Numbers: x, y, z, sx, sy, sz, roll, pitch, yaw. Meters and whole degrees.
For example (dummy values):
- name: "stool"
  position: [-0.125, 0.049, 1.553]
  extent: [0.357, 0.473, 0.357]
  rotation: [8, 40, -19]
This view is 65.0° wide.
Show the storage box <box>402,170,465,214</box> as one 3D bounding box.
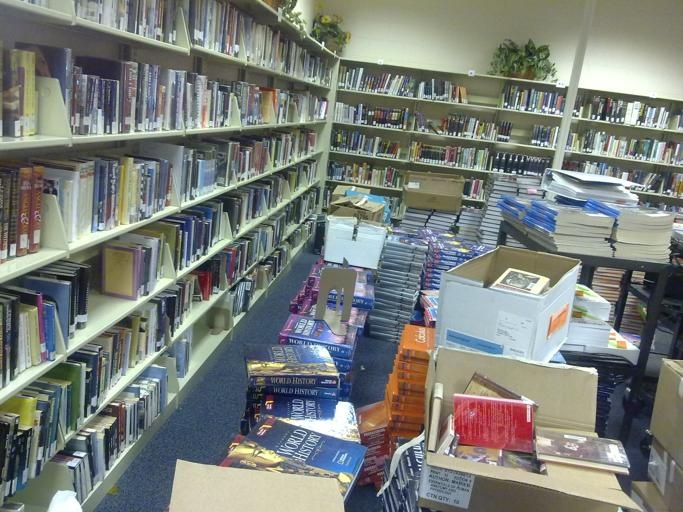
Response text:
- name: "storage box"
  position: [1.016, -0.708, 5.915]
  extent: [0.505, 0.308, 0.509]
  rotation: [10, 9, 3]

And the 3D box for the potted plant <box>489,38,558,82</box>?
- name: "potted plant"
  position: [2.247, -2.494, 6.742]
  extent: [0.747, 0.394, 0.680]
  rotation: [4, 11, -7]

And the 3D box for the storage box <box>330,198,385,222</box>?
- name: "storage box"
  position: [0.148, -0.427, 4.781]
  extent: [0.312, 0.199, 0.310]
  rotation: [12, 15, 21]
